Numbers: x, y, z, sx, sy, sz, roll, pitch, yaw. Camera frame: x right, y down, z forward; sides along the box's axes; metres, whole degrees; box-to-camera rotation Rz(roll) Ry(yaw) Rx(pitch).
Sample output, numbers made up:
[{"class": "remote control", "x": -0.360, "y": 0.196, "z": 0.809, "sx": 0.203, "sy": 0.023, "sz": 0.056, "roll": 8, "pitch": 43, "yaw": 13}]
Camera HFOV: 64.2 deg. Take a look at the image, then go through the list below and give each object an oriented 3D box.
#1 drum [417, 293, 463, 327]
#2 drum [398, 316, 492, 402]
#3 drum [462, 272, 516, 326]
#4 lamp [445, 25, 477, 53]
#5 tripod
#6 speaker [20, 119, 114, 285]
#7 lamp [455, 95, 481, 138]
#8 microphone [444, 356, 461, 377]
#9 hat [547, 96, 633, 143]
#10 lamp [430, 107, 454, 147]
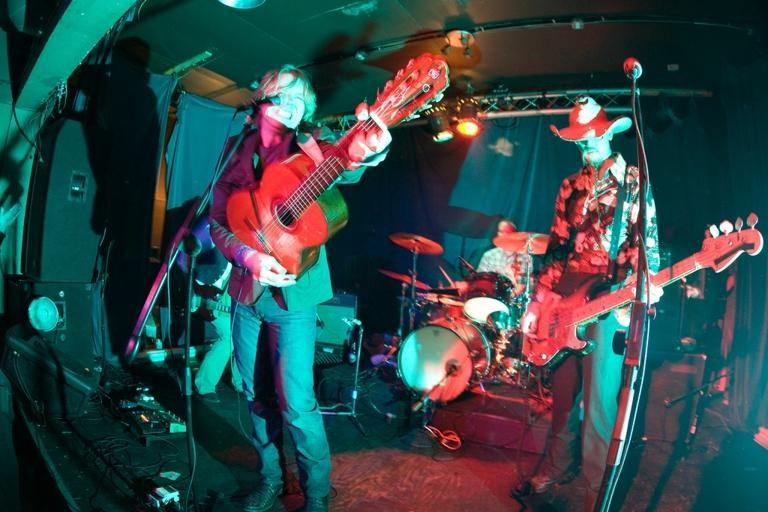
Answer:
[{"class": "drum", "x": 0.696, "y": 0.650, "z": 7.479, "sx": 0.400, "sy": 0.419, "sz": 0.412, "roll": 1, "pitch": -9, "yaw": 29}, {"class": "drum", "x": 0.718, "y": 1.159, "z": 6.812, "sx": 0.735, "sy": 0.764, "sz": 0.509, "roll": -30, "pitch": -11, "yaw": 24}, {"class": "drum", "x": 1.217, "y": 0.476, "z": 7.112, "sx": 0.608, "sy": 0.502, "sz": 0.438, "roll": 23, "pitch": 14, "yaw": 23}, {"class": "lamp", "x": 0.901, "y": -2.558, "z": 7.237, "sx": 0.349, "sy": 0.209, "sz": 0.334, "roll": 7, "pitch": -2, "yaw": 2}, {"class": "tripod", "x": -0.522, "y": 1.708, "z": 7.453, "sx": 0.578, "sy": 0.224, "sz": 0.802, "roll": -7, "pitch": 27, "yaw": 5}, {"class": "speaker", "x": -3.264, "y": -0.577, "z": 6.333, "sx": 0.688, "sy": 1.855, "sz": 0.300, "roll": 7, "pitch": -2, "yaw": -26}, {"class": "lamp", "x": 1.136, "y": -1.828, "z": 8.158, "sx": 0.383, "sy": 0.425, "sz": 0.393, "roll": 25, "pitch": -40, "yaw": -18}, {"class": "microphone", "x": 0.752, "y": 1.212, "z": 6.744, "sx": 0.113, "sy": 0.182, "sz": 0.181, "roll": -7, "pitch": -36, "yaw": -35}, {"class": "hat", "x": 1.952, "y": -1.291, "z": 5.706, "sx": 0.590, "sy": 0.248, "sz": 0.505, "roll": -23, "pitch": 20, "yaw": -20}, {"class": "lamp", "x": 0.791, "y": -1.810, "z": 8.566, "sx": 0.353, "sy": 0.500, "sz": 0.361, "roll": -4, "pitch": -14, "yaw": -31}]
